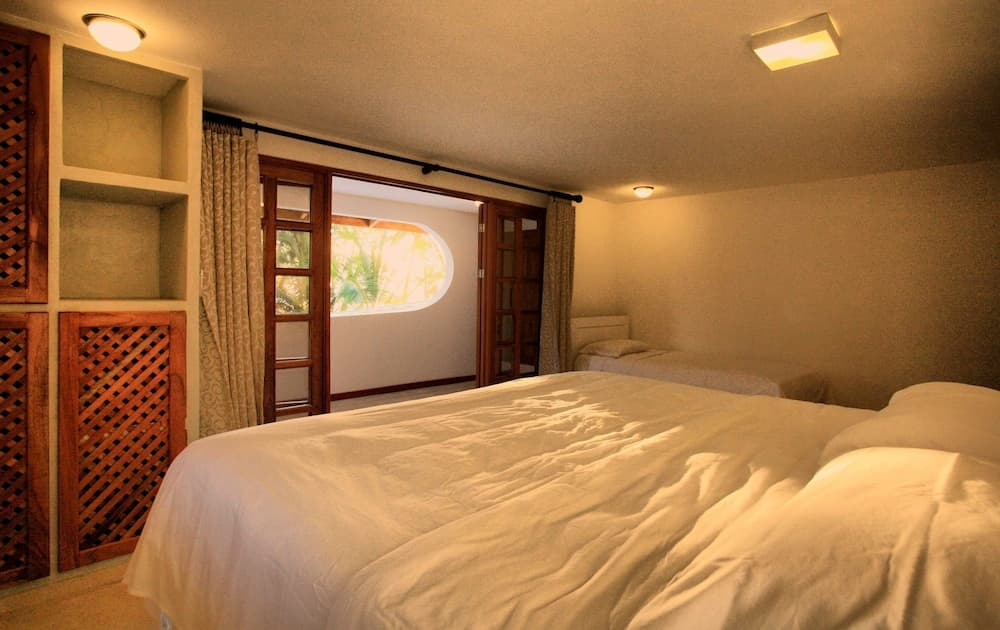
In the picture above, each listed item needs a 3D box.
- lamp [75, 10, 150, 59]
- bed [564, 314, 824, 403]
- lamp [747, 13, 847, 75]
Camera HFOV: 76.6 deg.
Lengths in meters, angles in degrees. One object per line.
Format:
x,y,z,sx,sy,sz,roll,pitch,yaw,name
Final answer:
-2.449,-1.771,4.020,0.341,0.183,0.370,-3,2,-31,lamp
1.844,0.489,6.430,1.722,0.614,1.080,2,5,38,bed
1.834,-1.703,3.952,0.516,0.187,0.291,-1,2,26,lamp
